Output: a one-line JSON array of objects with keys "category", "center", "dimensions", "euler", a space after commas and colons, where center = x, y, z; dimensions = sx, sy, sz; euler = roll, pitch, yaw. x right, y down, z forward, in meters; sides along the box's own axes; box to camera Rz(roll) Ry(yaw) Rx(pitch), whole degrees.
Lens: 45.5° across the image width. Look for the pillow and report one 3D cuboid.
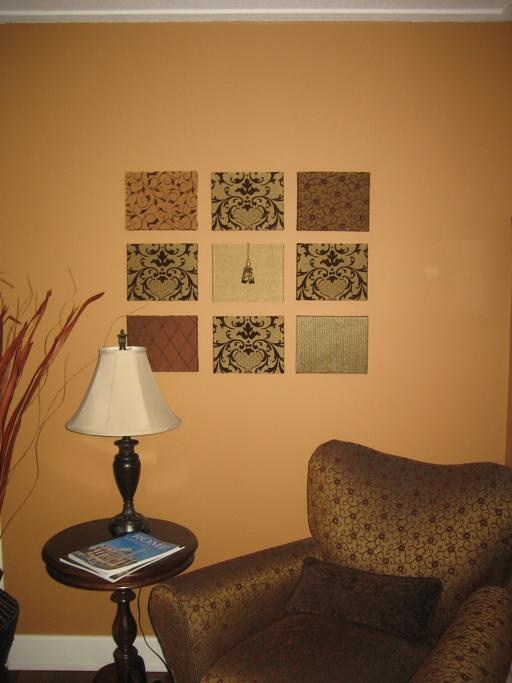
[{"category": "pillow", "center": [0.304, 0.729, 1.753], "dimensions": [0.325, 0.062, 0.191], "euler": [2, 49, 30]}]
